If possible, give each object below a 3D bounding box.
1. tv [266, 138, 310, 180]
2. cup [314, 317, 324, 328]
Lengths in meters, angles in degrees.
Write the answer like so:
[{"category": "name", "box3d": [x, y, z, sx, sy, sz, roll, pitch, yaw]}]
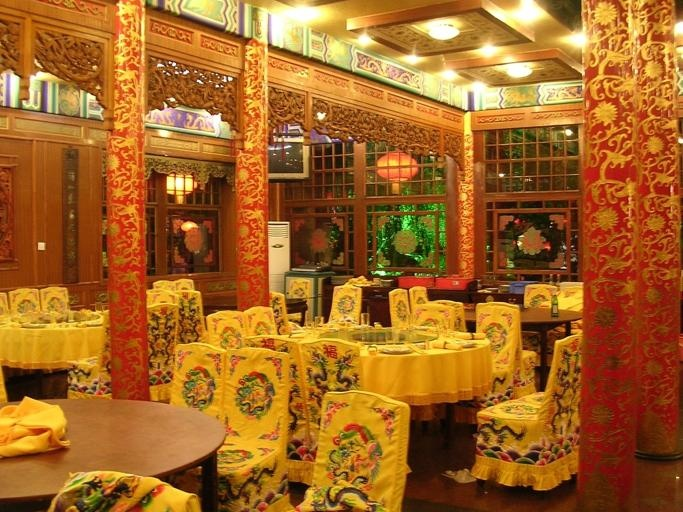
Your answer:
[{"category": "tv", "box3d": [-1.147, -1.950, 10.881, 0.122, 0.795, 1.171, 17, 20, 41]}, {"category": "cup", "box3d": [-0.254, 0.689, 5.714, 0.125, 0.105, 0.111, -2, -5, 18]}]
